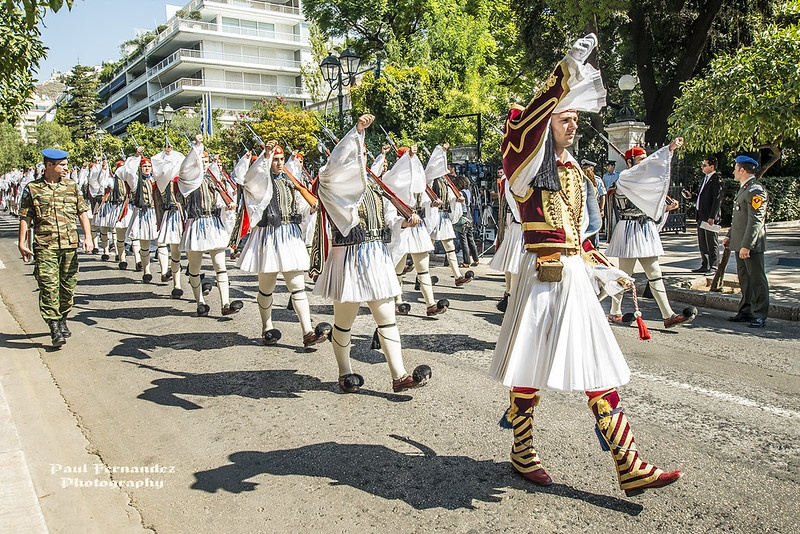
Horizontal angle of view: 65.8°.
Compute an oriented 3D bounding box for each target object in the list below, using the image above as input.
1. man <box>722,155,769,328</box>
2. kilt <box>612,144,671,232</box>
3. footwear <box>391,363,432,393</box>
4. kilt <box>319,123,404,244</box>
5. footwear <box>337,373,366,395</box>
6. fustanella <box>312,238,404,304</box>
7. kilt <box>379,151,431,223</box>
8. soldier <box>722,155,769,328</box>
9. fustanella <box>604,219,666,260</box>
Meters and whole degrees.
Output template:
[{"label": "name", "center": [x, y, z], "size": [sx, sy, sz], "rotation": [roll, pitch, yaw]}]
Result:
[{"label": "man", "center": [5.809, -0.456, 10.254], "size": [0.655, 2.694, 1.230], "rotation": [5, 16, 20]}, {"label": "kilt", "center": [3.688, -1.258, 9.217], "size": [0.999, 0.999, 0.477], "rotation": [3, 46, 40]}, {"label": "footwear", "center": [0.159, 1.353, 7.475], "size": [0.472, 0.213, 0.271], "rotation": [-22, -17, 33]}, {"label": "kilt", "center": [-0.503, -1.120, 7.236], "size": [0.396, 1.417, 0.576], "rotation": [11, 32, 21]}, {"label": "footwear", "center": [-0.601, 1.458, 7.667], "size": [0.257, 0.125, 0.385], "rotation": [-1, 2, -7]}, {"label": "fustanella", "center": [-0.531, 0.231, 7.648], "size": [1.064, 0.999, 0.741], "rotation": [0, -6, -12]}, {"label": "kilt", "center": [0.079, -1.357, 10.336], "size": [1.034, 1.033, 0.466], "rotation": [-14, 25, -36]}, {"label": "soldier", "center": [5.804, -0.454, 10.245], "size": [0.648, 2.694, 1.209], "rotation": [5, 16, 20]}, {"label": "fustanella", "center": [3.875, -0.589, 10.235], "size": [0.837, 0.804, 0.663], "rotation": [4, 9, 33]}]
